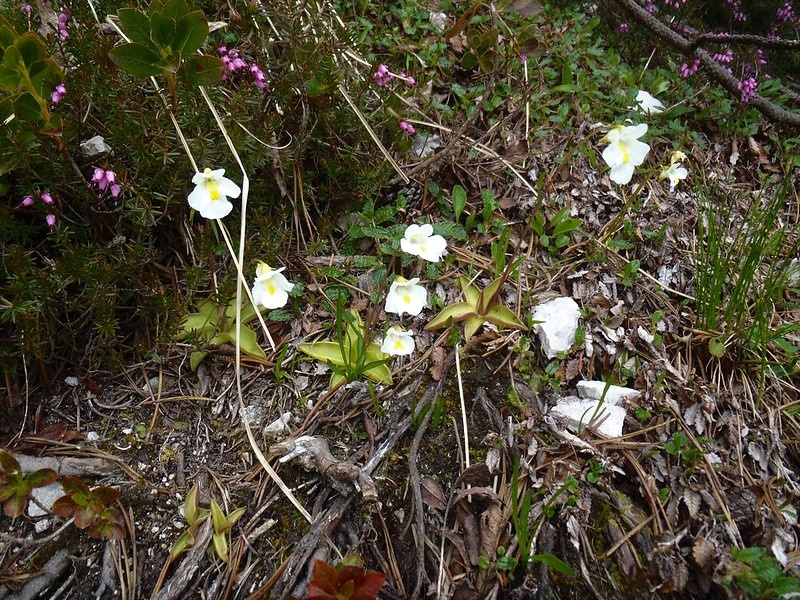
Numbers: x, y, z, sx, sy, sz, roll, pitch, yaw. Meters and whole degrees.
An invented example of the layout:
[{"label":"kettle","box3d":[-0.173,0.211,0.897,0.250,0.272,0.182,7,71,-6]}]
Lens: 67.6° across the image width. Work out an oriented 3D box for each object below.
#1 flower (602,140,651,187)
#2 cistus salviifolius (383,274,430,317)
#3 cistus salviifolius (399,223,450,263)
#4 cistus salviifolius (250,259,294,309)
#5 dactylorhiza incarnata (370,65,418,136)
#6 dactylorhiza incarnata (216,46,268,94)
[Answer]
[{"label":"flower","box3d":[1.120,-0.647,2.975,0.173,0.274,0.095,1,7,-7]},{"label":"cistus salviifolius","box3d":[0.034,-0.027,2.906,0.181,0.145,0.168,9,52,-2]},{"label":"cistus salviifolius","box3d":[0.122,-0.273,3.029,0.190,0.091,0.219,27,67,-16]},{"label":"cistus salviifolius","box3d":[-0.626,-0.060,2.880,0.159,0.152,0.242,-9,75,-5]},{"label":"dactylorhiza incarnata","box3d":[-0.015,-1.187,3.455,0.116,0.337,0.314,-51,34,-17]},{"label":"dactylorhiza incarnata","box3d":[-0.833,-1.221,3.127,0.229,0.097,0.298,24,20,-46]}]
